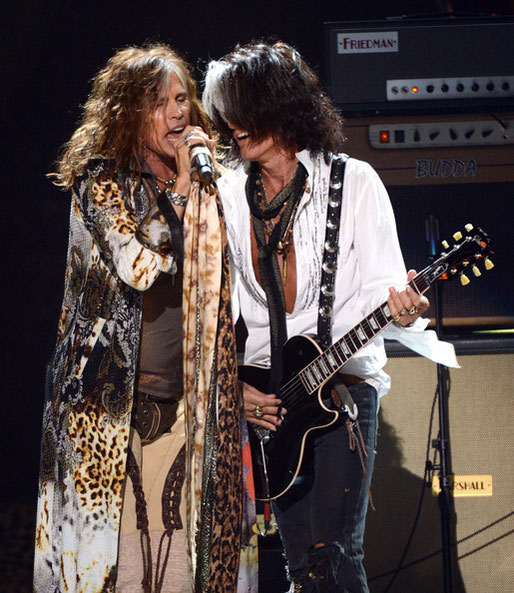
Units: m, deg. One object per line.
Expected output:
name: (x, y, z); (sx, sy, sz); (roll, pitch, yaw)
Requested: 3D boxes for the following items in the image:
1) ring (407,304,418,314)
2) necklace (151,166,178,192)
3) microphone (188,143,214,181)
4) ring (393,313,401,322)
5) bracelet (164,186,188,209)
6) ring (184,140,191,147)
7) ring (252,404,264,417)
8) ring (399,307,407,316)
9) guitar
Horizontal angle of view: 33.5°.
ring: (0.356, 0.029, 1.958); (0.011, 0.027, 0.003); (31, 4, 5)
necklace: (-0.208, -0.254, 1.923); (0.011, 0.036, 0.071); (-26, 3, 22)
microphone: (-0.114, -0.275, 1.771); (0.047, 0.085, 0.085); (0, -2, -4)
ring: (0.324, 0.050, 1.973); (0.016, 0.015, 0.005); (-5, -8, 43)
bracelet: (-0.169, -0.208, 1.829); (0.033, 0.022, 0.045); (28, 1, 43)
ring: (-0.149, -0.318, 1.793); (0.009, 0.015, 0.004); (-2, -31, 9)
ring: (-0.002, 0.275, 2.052); (0.019, 0.025, 0.006); (-2, -12, 32)
ring: (0.335, 0.035, 1.963); (0.014, 0.013, 0.015); (8, -8, 1)
guitar: (0.273, 0.194, 2.206); (0.126, 0.312, 0.876); (14, -51, -47)
